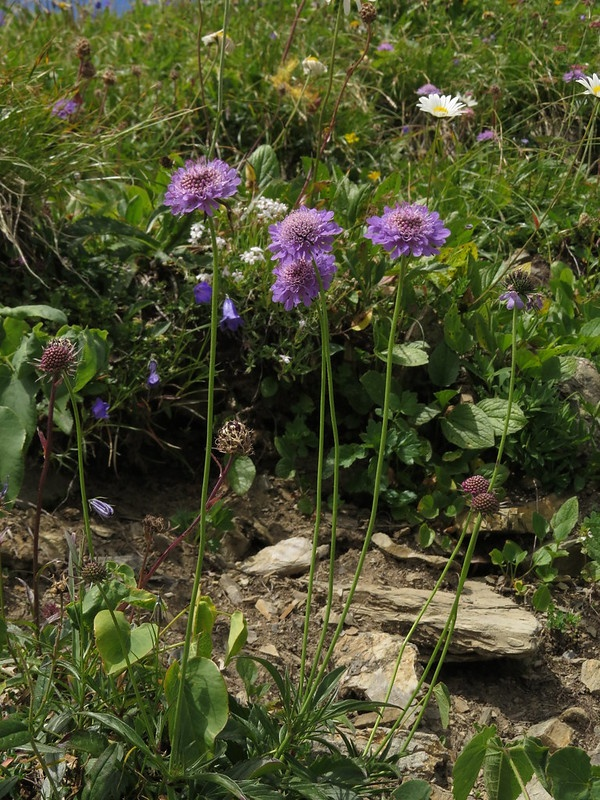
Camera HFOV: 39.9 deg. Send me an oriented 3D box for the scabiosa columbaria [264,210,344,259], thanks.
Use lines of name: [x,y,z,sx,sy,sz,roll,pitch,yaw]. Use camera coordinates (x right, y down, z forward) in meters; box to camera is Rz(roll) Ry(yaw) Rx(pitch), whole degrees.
scabiosa columbaria: [0.006,-0.341,1.710,0.142,0.113,0.218,9,12,-2]

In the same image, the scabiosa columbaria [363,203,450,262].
scabiosa columbaria: [0.217,-0.365,1.719,0.145,0.057,0.134,-21,42,-13]
